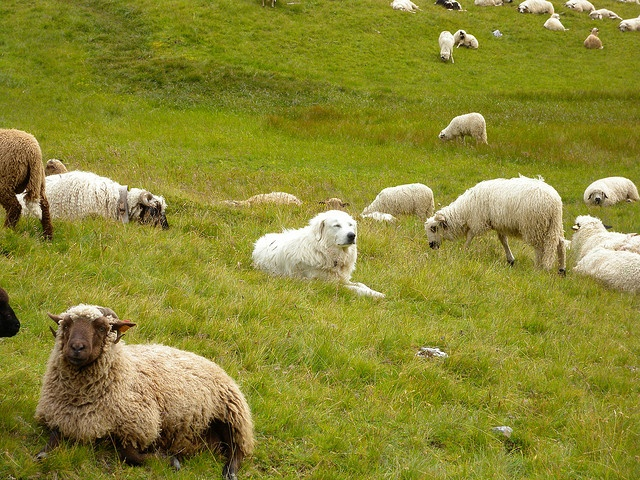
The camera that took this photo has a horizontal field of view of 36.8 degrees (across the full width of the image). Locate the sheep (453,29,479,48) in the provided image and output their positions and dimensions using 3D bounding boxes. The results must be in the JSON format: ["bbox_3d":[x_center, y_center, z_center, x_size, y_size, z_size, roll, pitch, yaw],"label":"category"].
[{"bbox_3d":[9.699,-13.244,63.363,1.531,1.032,0.929,5,1,-7],"label":"sheep"}]

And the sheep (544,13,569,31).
[{"bbox_3d":[17.192,-15.835,69.878,1.268,0.853,1.683,4,43,17],"label":"sheep"}]

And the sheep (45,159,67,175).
[{"bbox_3d":[-9.197,-2.485,33.416,0.509,0.575,0.755,-1,-20,6],"label":"sheep"}]

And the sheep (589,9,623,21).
[{"bbox_3d":[22.063,-17.570,73.961,3.084,1.134,1.078,-4,4,-20],"label":"sheep"}]

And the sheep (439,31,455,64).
[{"bbox_3d":[8.028,-12.238,61.098,0.755,1.375,2.670,0,41,5],"label":"sheep"}]

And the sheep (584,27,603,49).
[{"bbox_3d":[19.036,-13.899,66.601,0.961,0.964,1.807,-8,47,29],"label":"sheep"}]
